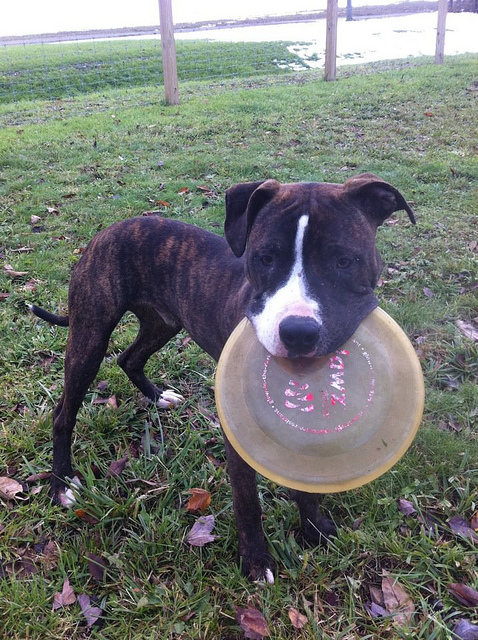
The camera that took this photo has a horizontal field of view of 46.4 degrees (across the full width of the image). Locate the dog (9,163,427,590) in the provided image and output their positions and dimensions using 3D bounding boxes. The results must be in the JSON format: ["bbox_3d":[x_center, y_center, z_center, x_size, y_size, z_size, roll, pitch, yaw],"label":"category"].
[{"bbox_3d":[-0.282,0.076,2.785,1.063,1.751,2.133,-11,26,-34],"label":"dog"}]

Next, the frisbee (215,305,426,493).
[{"bbox_3d":[0.278,0.273,1.942,0.706,0.516,0.396,-2,25,-2],"label":"frisbee"}]
